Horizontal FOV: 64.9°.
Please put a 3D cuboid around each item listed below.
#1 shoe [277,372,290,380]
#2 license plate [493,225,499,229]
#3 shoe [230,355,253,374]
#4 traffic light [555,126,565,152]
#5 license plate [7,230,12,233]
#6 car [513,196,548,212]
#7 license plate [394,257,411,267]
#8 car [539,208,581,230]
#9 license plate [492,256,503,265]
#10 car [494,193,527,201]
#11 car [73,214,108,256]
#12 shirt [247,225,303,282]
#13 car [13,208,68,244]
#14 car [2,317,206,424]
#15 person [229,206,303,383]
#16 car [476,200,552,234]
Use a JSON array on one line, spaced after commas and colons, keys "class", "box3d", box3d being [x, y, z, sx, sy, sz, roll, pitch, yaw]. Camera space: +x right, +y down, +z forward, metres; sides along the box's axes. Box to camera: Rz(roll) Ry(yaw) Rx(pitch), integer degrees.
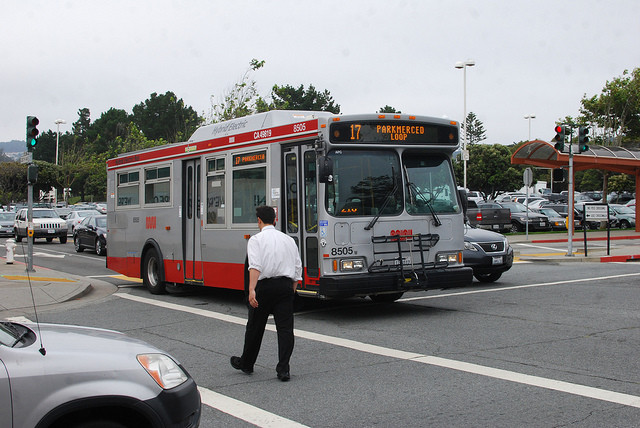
[{"class": "shoe", "box3d": [-0.481, 2.105, 6.570, 0.157, 0.124, 0.127, -1, 1, -3]}, {"class": "license plate", "box3d": [11.249, 0.833, 32.185, 0.238, 0.210, 0.376, 4, 7, 38]}, {"class": "shoe", "box3d": [-1.061, 2.053, 6.863, 0.352, 0.165, 0.141, 25, 20, 39]}, {"class": "traffic light", "box3d": [9.229, -2.923, 19.432, 0.292, 0.910, 0.501, -1, 1, 20]}, {"class": "license plate", "box3d": [-22.444, 1.269, 36.391, 0.293, 0.166, 0.452, -1, 1, -29]}, {"class": "car", "box3d": [17.625, -0.824, 42.265, 2.561, 0.894, 1.175, -11, 12, -42]}, {"class": "license plate", "box3d": [1.619, 0.941, 9.899, 0.388, 0.200, 0.079, -1, 1, -31]}, {"class": "car", "box3d": [15.441, 0.405, 32.571, 2.767, 1.132, 1.305, -2, 5, -17]}, {"class": "license plate", "box3d": [4.954, 1.312, 14.080, 0.326, 0.230, 0.181, 0, -2, -31]}, {"class": "car", "box3d": [21.206, -1.855, 55.935, 3.078, 1.161, 1.449, -9, 9, -28]}, {"class": "car", "box3d": [-11.626, 1.140, 25.525, 1.759, 1.647, 3.862, 2, -5, -37]}, {"class": "shirt", "box3d": [-0.624, 0.560, 6.792, 0.864, 0.771, 0.439, 10, -21, -40]}, {"class": "car", "box3d": [-18.110, 0.796, 32.562, 2.560, 1.869, 3.706, -2, 1, -38]}, {"class": "car", "box3d": [-1.744, 1.238, 4.044, 1.482, 0.751, 0.872, 0, -1, -11]}, {"class": "person", "box3d": [-0.655, 1.177, 6.660, 0.819, 1.999, 0.396, -1, 1, -8]}, {"class": "car", "box3d": [12.985, 0.570, 33.782, 5.809, 2.141, 2.726, -2, 3, -7]}]
